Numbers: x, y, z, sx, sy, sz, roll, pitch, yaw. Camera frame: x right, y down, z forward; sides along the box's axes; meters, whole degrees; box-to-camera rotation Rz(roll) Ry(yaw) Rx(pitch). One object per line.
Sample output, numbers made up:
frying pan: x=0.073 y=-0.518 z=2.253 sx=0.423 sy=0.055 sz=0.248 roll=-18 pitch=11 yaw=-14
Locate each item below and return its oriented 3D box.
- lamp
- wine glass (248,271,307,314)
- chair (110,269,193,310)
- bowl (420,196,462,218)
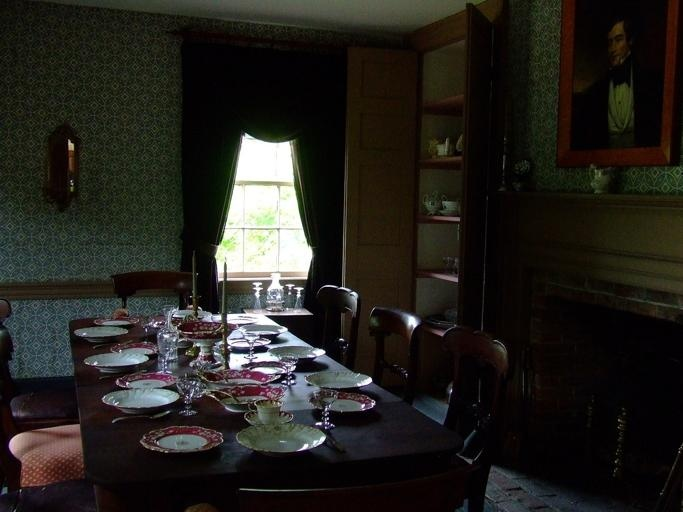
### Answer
lamp: x=-2.359 y=-0.751 z=4.644 sx=0.312 sy=0.727 sz=0.072 roll=-6 pitch=8 yaw=-29
wine glass: x=-0.564 y=0.347 z=5.126 sx=0.367 sy=0.261 sz=0.365 roll=-3 pitch=4 yaw=-32
chair: x=-1.426 y=0.213 z=4.243 sx=0.428 sy=0.514 sz=0.362 roll=1 pitch=-6 yaw=-9
bowl: x=0.947 y=-0.454 z=5.014 sx=0.206 sy=0.123 sz=0.252 roll=1 pitch=-2 yaw=-34
